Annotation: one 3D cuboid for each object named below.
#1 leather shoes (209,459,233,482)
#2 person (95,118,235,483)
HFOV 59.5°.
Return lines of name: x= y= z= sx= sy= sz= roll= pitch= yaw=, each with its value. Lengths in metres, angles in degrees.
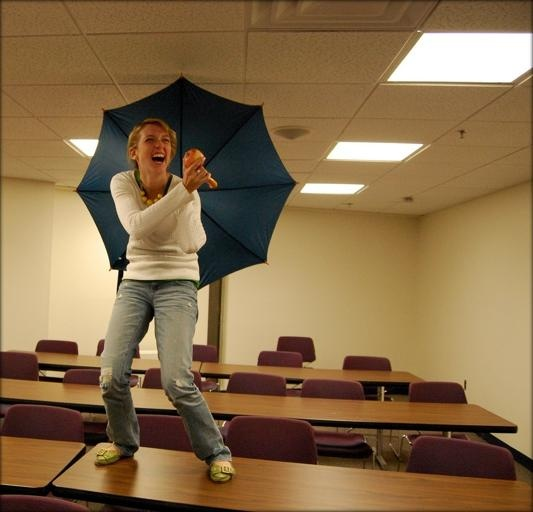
leather shoes: x=-0.181 y=0.868 z=1.911 sx=0.108 sy=0.083 sz=0.137 roll=4 pitch=-10 yaw=-7
person: x=-0.446 y=0.159 z=1.946 sx=0.603 sy=1.458 sz=0.501 roll=-1 pitch=-10 yaw=23
